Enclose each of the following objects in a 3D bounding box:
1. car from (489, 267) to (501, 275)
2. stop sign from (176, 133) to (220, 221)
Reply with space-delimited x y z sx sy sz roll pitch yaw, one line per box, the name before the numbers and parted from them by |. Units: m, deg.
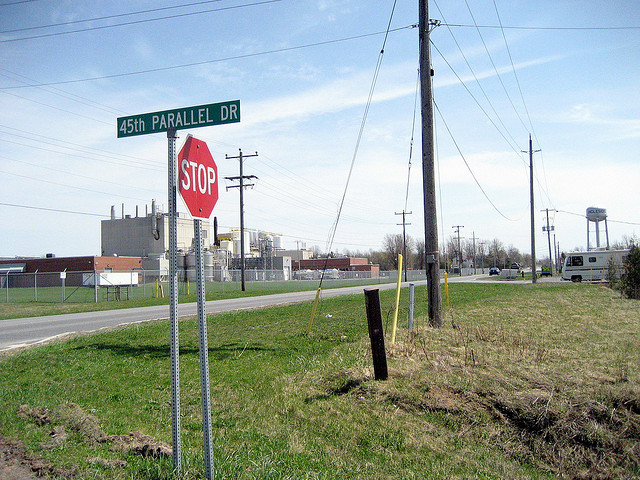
car | 26.613 4.681 92.491 1.144 0.951 2.642 1 7 22
stop sign | -1.672 -0.858 8.252 0.251 1.146 0.813 2 8 28
